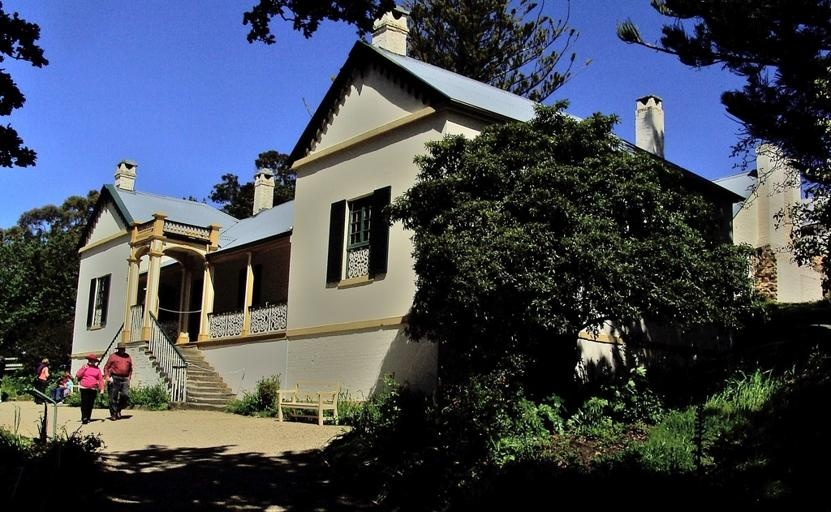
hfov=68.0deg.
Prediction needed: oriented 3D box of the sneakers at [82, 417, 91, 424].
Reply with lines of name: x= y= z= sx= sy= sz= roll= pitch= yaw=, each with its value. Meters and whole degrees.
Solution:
sneakers: x=-9.176 y=4.604 z=17.233 sx=0.218 sy=0.196 sz=0.677 roll=5 pitch=-20 yaw=-26

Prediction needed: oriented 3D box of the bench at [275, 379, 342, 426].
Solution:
bench: x=-3.107 y=4.194 z=17.546 sx=0.749 sy=0.996 sz=2.155 roll=9 pitch=-15 yaw=-43

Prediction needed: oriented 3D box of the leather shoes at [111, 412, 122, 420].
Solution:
leather shoes: x=-8.699 y=4.633 z=17.893 sx=0.281 sy=0.241 sz=0.464 roll=5 pitch=-19 yaw=-25
